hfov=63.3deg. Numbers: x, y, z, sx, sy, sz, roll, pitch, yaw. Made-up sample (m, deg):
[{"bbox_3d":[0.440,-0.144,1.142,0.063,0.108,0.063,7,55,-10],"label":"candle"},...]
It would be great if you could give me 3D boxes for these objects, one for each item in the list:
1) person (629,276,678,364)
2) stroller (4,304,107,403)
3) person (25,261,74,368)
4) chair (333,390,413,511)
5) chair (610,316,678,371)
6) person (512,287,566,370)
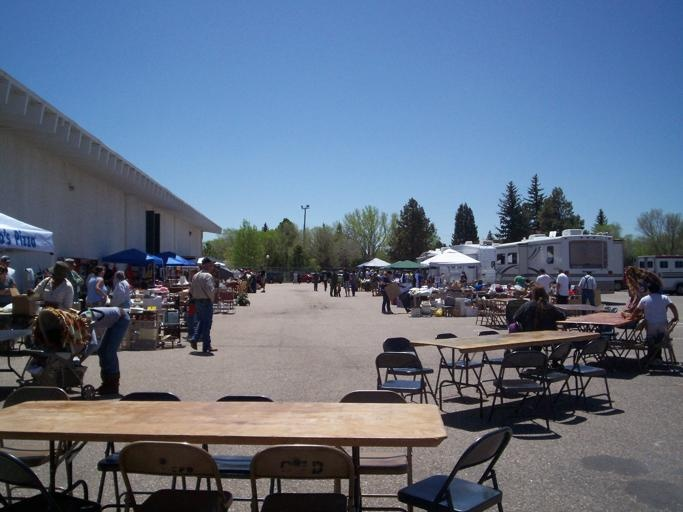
[{"bbox_3d":[6.099,1.206,10.715,0.664,1.790,0.988,-3,-3,37],"label":"person"},{"bbox_3d":[-4.289,1.383,8.163,1.045,1.593,1.299,-2,-6,42],"label":"stroller"},{"bbox_3d":[-4.609,0.907,8.883,0.590,1.787,0.517,4,17,-12],"label":"person"},{"bbox_3d":[0.409,1.786,5.339,0.725,1.408,0.911,0,-13,1],"label":"chair"},{"bbox_3d":[6.054,1.775,11.115,1.547,1.220,0.981,0,-3,19],"label":"chair"},{"bbox_3d":[3.512,1.395,10.025,0.726,1.835,0.663,4,23,9],"label":"person"}]
